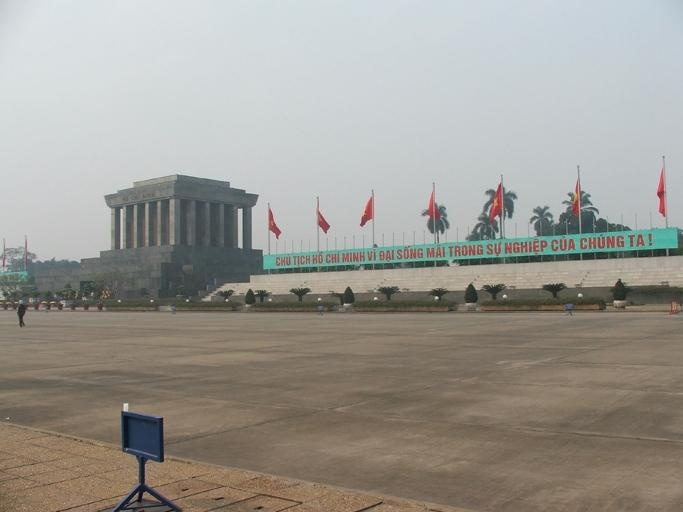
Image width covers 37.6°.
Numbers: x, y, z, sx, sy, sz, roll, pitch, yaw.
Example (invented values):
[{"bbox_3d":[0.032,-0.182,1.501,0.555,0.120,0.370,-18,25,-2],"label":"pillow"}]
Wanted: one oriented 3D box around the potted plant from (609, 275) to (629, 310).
[{"bbox_3d":[17.915,2.385,64.936,0.538,1.751,0.548,2,-5,39],"label":"potted plant"}]
